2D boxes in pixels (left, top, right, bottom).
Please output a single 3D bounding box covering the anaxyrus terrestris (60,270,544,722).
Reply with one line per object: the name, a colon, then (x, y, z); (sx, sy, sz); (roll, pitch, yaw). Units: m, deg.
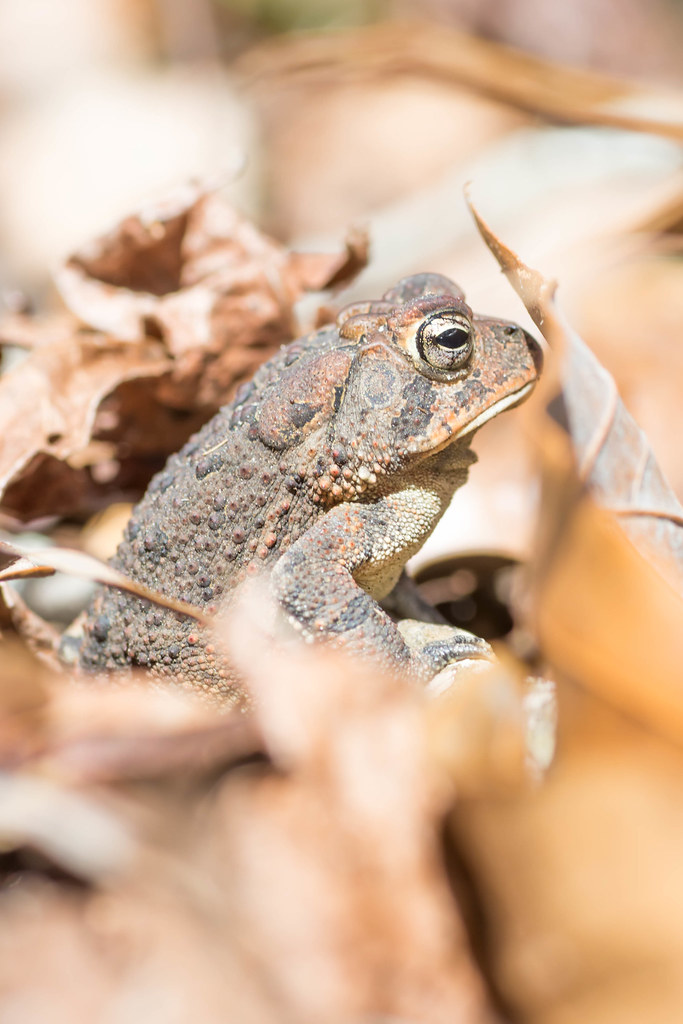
anaxyrus terrestris: (-0.008, -0.024, 0.952); (0.355, 0.304, 0.370); (18, 51, 27)
